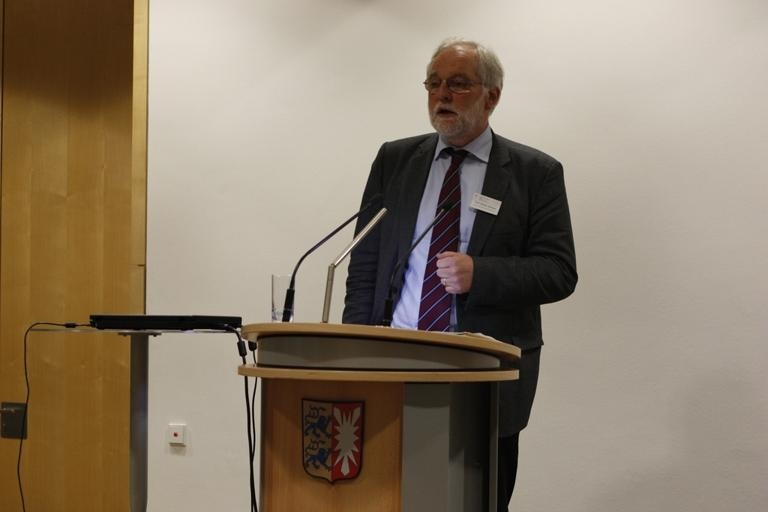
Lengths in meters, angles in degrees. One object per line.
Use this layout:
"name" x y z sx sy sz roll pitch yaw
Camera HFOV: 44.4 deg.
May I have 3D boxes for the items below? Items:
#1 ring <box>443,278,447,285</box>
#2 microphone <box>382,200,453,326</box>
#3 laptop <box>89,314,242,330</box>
"ring" 0.313 0.130 4.803 0.018 0.014 0.023 2 -18 -3
"microphone" 0.187 0.062 4.938 0.249 0.129 0.655 -9 -36 -6
"laptop" -1.089 0.338 4.725 0.727 0.078 0.135 0 -8 -2
